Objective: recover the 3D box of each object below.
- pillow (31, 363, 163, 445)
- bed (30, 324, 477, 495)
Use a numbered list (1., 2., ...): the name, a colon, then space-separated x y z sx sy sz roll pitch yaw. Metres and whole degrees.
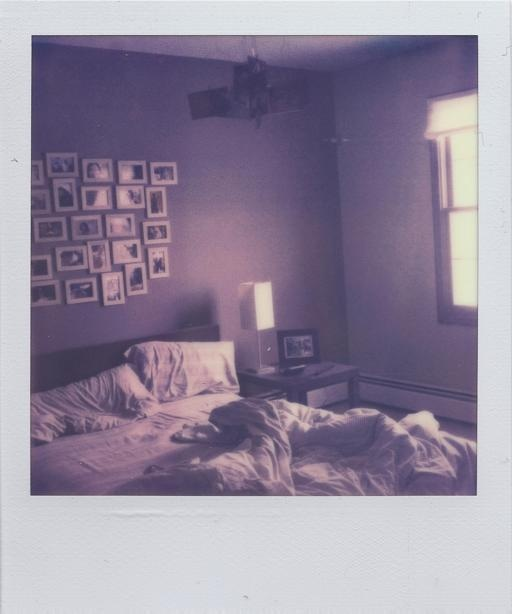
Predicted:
1. pillow: -0.438 0.253 1.510 0.262 0.048 0.152 -16 49 -32
2. bed: -0.029 0.271 1.428 1.003 0.413 0.376 -6 4 5
